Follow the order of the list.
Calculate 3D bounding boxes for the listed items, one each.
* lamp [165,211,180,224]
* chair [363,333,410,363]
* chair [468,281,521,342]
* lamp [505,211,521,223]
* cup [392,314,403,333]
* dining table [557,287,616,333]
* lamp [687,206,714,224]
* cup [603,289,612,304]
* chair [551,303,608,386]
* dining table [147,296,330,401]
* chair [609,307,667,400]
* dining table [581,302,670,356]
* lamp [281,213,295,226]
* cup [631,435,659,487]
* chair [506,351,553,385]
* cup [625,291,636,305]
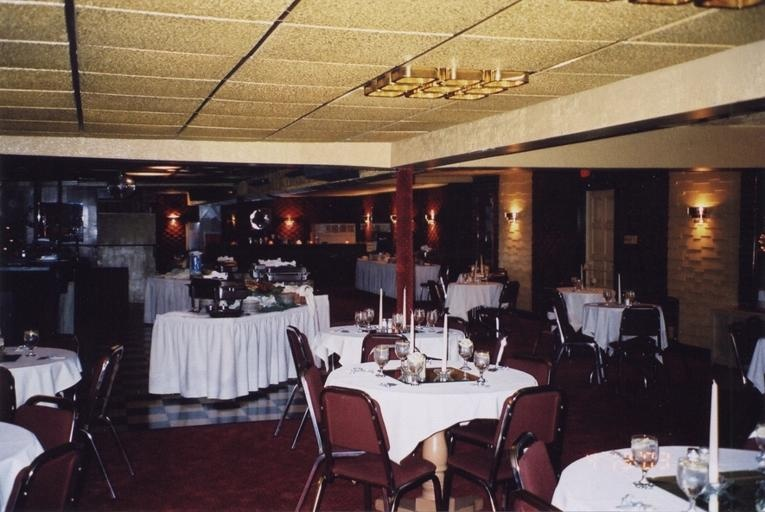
[{"bbox_3d":[-7.250,-1.342,21.283,0.416,0.385,0.421,-1,0,29],"label":"lamp"},{"bbox_3d":[0.028,0.838,5.910,0.328,0.415,0.328,1,0,9],"label":"chair"},{"bbox_3d":[2.024,0.979,11.383,0.910,1.020,1.336,0,0,7],"label":"chair"},{"bbox_3d":[2.964,-0.901,13.904,0.225,0.299,0.404,-7,9,-31],"label":"lamp"},{"bbox_3d":[0.159,0.734,6.699,0.106,0.181,0.175,0,1,0],"label":"cup"},{"bbox_3d":[3.234,0.836,10.021,0.812,0.461,0.793,0,-2,-3],"label":"dining table"},{"bbox_3d":[5.211,-0.689,10.085,0.278,0.260,0.266,1,1,12],"label":"lamp"},{"bbox_3d":[3.330,0.598,9.060,0.108,0.183,0.319,0,0,19],"label":"cup"},{"bbox_3d":[2.821,1.229,8.993,1.064,1.358,1.004,-2,-3,16],"label":"chair"},{"bbox_3d":[-1.756,1.139,7.667,2.117,0.765,1.130,-3,4,-29],"label":"dining table"},{"bbox_3d":[3.587,1.175,8.689,0.745,1.059,1.959,0,0,22],"label":"chair"},{"bbox_3d":[3.148,0.913,8.409,0.853,0.457,0.841,0,4,9],"label":"dining table"},{"bbox_3d":[-3.426,-1.326,22.263,0.456,0.417,0.444,-2,4,-19],"label":"lamp"},{"bbox_3d":[1.482,1.155,3.485,0.130,0.270,0.306,0,1,22],"label":"cup"},{"bbox_3d":[1.256,0.964,5.382,0.258,0.407,0.290,2,-6,-22],"label":"chair"},{"bbox_3d":[3.654,0.616,9.063,0.177,0.274,0.171,0,8,0],"label":"cup"}]
